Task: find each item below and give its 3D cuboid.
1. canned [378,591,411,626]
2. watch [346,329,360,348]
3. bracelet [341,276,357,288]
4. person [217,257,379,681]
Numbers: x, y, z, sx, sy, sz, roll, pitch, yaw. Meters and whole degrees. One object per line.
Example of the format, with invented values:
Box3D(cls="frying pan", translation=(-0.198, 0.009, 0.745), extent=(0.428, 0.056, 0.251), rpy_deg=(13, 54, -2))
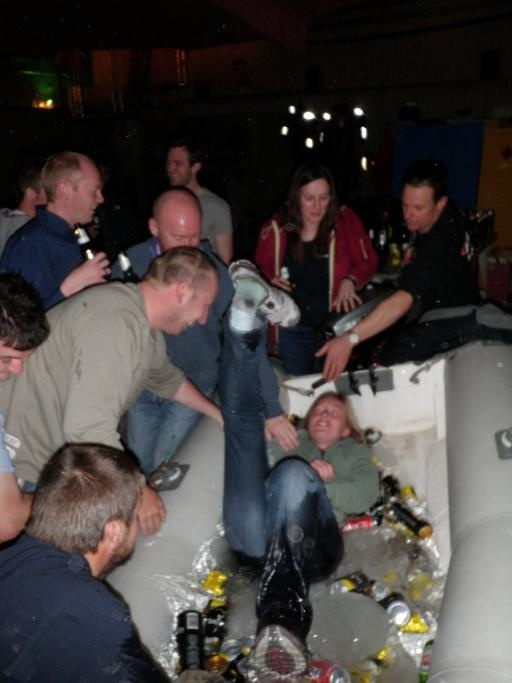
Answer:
Box3D(cls="canned", translation=(0.483, 0.924, 1.977), extent=(0.087, 0.080, 0.136), rpy_deg=(-2, 14, -7))
Box3D(cls="watch", translation=(0.419, -0.010, 2.476), extent=(0.048, 0.072, 0.076), rpy_deg=(-21, 3, 2))
Box3D(cls="bracelet", translation=(0.469, -0.303, 2.844), extent=(0.016, 0.053, 0.056), rpy_deg=(-42, -12, 36))
Box3D(cls="person", translation=(0.205, 0.368, 2.062), extent=(0.505, 1.432, 0.609), rpy_deg=(3, -24, -5))
